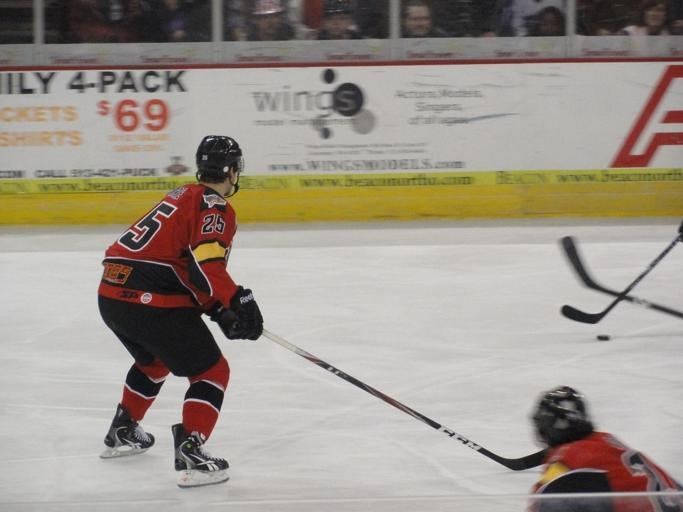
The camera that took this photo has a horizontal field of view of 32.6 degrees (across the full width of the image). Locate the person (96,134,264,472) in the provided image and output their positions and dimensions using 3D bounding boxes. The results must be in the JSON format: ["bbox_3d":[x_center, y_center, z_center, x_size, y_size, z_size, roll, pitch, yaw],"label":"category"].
[{"bbox_3d":[-0.909,0.273,6.650,0.913,1.831,1.014,1,23,-10],"label":"person"}]

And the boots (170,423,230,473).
[{"bbox_3d":[-0.734,1.089,6.557,0.459,0.222,0.147,-1,1,36],"label":"boots"}]

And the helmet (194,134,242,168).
[{"bbox_3d":[-0.685,-0.590,6.820,0.306,0.208,0.168,-2,53,4],"label":"helmet"}]

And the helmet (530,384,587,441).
[{"bbox_3d":[1.246,0.844,6.251,0.336,0.259,0.343,3,-13,-21],"label":"helmet"}]
